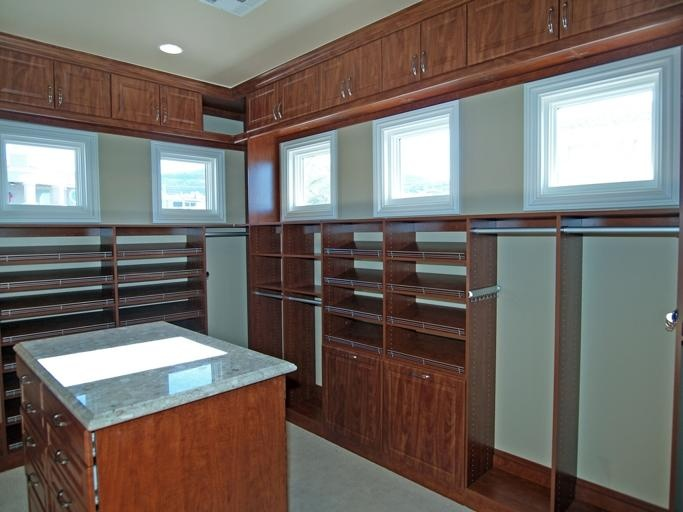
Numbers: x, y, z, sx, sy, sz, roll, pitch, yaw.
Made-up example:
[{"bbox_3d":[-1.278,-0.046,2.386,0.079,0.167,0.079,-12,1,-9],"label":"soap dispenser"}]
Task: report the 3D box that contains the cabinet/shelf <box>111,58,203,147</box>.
[{"bbox_3d":[-1.772,-1.410,4.570,0.186,0.391,0.884,2,5,41],"label":"cabinet/shelf"}]
